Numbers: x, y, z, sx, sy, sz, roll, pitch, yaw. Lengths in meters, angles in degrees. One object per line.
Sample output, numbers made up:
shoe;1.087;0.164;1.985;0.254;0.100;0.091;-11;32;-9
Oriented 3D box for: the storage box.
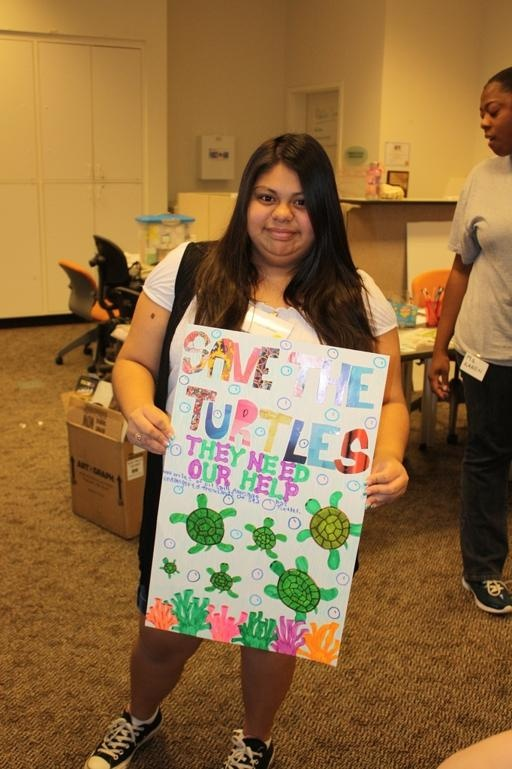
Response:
storage box;-0.624;0.337;2.573;0.377;0.530;0.279;11;18;36
